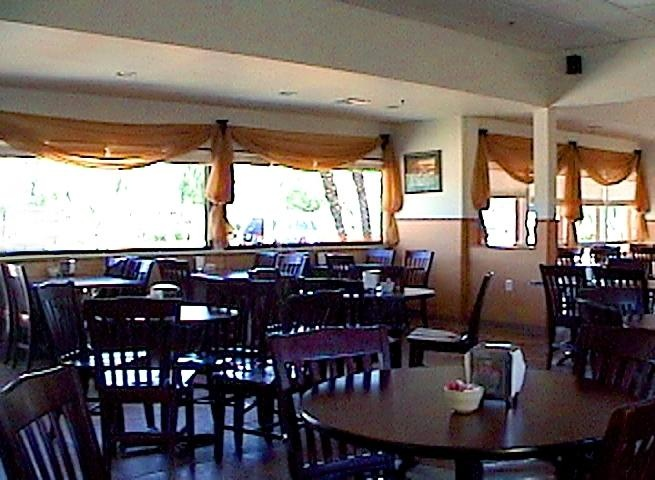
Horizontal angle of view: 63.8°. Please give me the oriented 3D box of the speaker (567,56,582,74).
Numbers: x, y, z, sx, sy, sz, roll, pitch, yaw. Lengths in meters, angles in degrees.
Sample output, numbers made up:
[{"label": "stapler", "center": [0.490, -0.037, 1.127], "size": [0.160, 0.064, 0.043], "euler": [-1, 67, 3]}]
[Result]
[{"label": "speaker", "center": [3.316, -2.371, 7.074], "size": [0.177, 0.251, 0.129], "euler": [10, 21, 37]}]

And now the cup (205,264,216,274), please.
[{"label": "cup", "center": [-1.473, 0.369, 6.630], "size": [0.116, 0.113, 0.119], "euler": [0, -1, 0]}]

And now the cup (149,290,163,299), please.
[{"label": "cup", "center": [-1.254, 0.391, 3.829], "size": [0.081, 0.062, 0.082], "euler": [1, 1, 0]}]

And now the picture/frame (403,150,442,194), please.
[{"label": "picture/frame", "center": [1.580, -1.131, 8.645], "size": [0.743, 0.770, 0.059], "euler": [-1, 2, 36]}]
